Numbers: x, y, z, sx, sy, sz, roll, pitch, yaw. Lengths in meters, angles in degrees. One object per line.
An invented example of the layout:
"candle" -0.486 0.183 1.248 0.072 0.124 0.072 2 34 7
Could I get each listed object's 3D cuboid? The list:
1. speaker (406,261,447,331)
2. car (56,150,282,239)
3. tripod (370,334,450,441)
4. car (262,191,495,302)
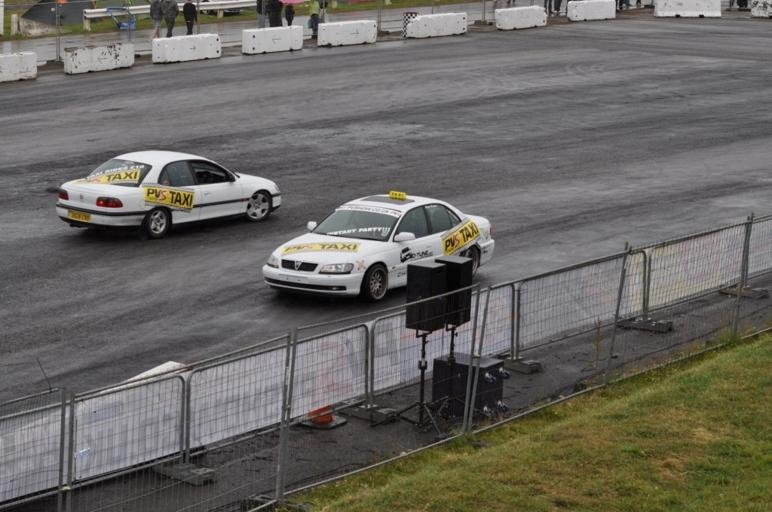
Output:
"speaker" 0.673 0.699 23.161 0.694 1.079 0.649 -2 18 2
"car" -4.877 -1.530 31.721 4.292 1.165 2.196 -13 20 -43
"tripod" 0.428 2.099 23.217 1.069 1.640 1.091 0 18 7
"car" -0.247 -0.119 28.436 4.202 1.768 1.519 -13 20 -33
